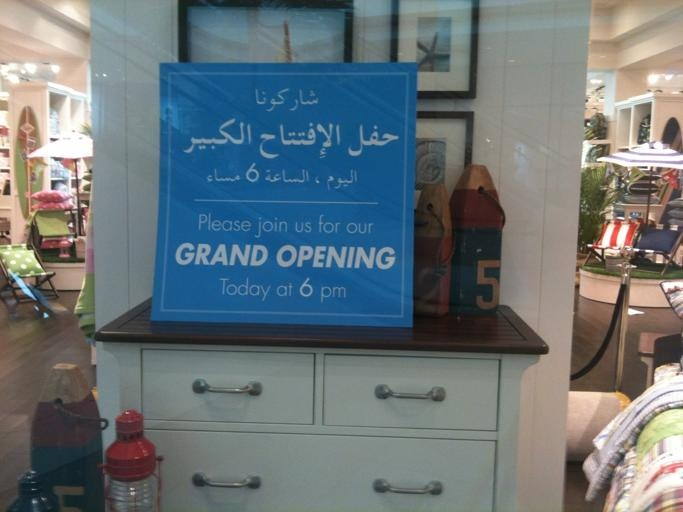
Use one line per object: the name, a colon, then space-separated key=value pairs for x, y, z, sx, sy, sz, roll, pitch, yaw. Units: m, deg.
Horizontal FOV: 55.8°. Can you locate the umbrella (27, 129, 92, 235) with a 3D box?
umbrella: x=-0.927 y=-0.279 z=2.205 sx=0.212 sy=0.247 sz=0.218 roll=13 pitch=21 yaw=17

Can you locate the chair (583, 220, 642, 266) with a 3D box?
chair: x=0.916 y=-0.033 z=2.173 sx=0.170 sy=0.194 sz=0.142 roll=-20 pitch=16 yaw=-35
